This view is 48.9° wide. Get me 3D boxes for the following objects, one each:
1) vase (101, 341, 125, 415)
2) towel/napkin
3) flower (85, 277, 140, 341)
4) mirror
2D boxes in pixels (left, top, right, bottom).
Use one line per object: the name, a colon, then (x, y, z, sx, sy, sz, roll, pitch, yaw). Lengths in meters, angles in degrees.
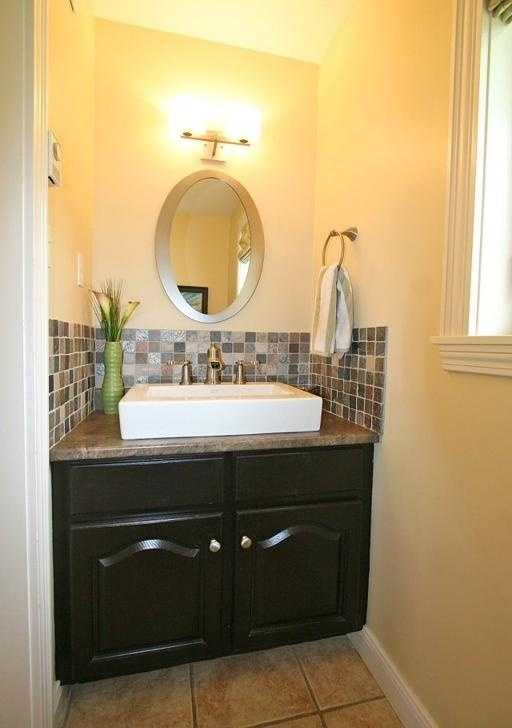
vase: (-0.518, 0.041, 2.034, 0.076, 0.247, 0.183, -2, 11, -15)
towel/napkin: (0.261, -0.178, 1.904, 0.136, 0.309, 0.164, 2, 10, 6)
flower: (-0.516, -0.192, 2.024, 0.169, 0.251, 0.191, 0, 2, -44)
mirror: (-0.175, -0.478, 2.223, 0.424, 0.707, 0.017, 0, -20, -5)
